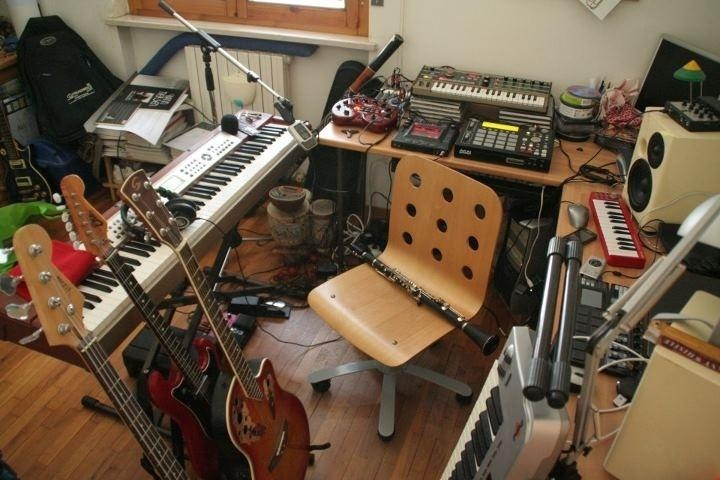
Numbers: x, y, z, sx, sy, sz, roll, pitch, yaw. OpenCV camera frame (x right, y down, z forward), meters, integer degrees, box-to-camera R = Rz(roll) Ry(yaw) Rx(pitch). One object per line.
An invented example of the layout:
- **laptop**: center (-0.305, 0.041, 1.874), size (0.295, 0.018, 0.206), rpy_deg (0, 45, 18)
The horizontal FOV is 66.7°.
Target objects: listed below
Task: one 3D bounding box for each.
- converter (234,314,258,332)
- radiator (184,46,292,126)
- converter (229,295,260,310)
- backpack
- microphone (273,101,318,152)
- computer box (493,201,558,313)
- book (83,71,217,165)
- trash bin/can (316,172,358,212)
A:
- **converter**: center (-0.676, 0.482, 3.198), size (0.087, 0.058, 0.092), rpy_deg (13, 43, 9)
- **radiator**: center (-0.783, -1.029, 3.613), size (0.745, 0.795, 0.056), rpy_deg (13, 47, 11)
- **converter**: center (-0.693, 0.385, 3.308), size (0.140, 0.054, 0.110), rpy_deg (4, 39, 6)
- **backpack**: center (-2.140, -1.193, 4.057), size (0.617, 0.921, 0.358), rpy_deg (10, 38, 7)
- **microphone**: center (-0.334, -0.627, 2.979), size (0.250, 0.261, 0.271), rpy_deg (0, 34, -4)
- **computer box**: center (0.873, 0.075, 2.878), size (0.280, 0.584, 0.419), rpy_deg (-1, 32, -2)
- **book**: center (-1.486, -0.896, 4.019), size (0.730, 0.292, 0.813), rpy_deg (24, 53, 20)
- **trash bin/can**: center (-0.118, -0.356, 3.842), size (0.221, 0.304, 0.268), rpy_deg (17, 28, 25)
